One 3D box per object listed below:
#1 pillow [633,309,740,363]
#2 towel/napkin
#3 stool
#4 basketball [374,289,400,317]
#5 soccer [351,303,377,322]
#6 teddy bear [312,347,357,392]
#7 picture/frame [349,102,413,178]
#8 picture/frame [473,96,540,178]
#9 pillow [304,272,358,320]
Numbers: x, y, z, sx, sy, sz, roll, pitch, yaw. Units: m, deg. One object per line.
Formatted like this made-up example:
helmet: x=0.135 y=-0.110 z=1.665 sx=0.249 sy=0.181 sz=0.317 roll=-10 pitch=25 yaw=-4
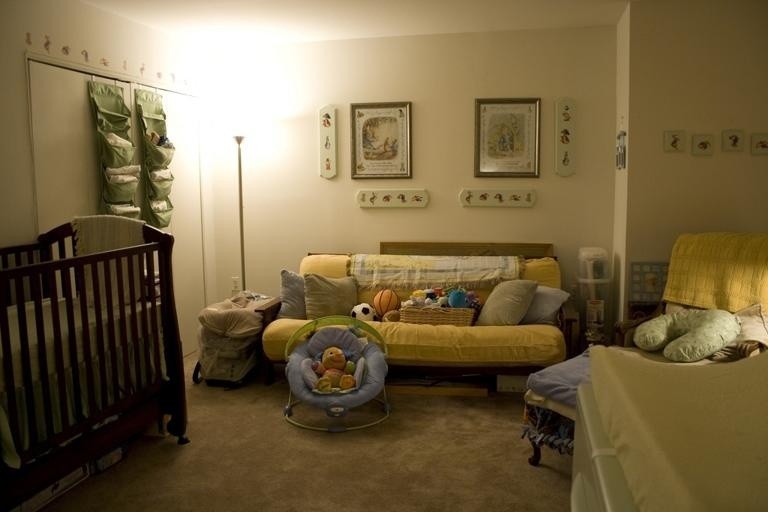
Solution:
pillow: x=1.945 y=0.491 z=3.327 sx=0.374 sy=0.102 sz=0.375 roll=-23 pitch=7 yaw=-7
towel/napkin: x=-1.720 y=0.028 z=3.285 sx=0.559 sy=0.670 sz=0.107 roll=-1 pitch=6 yaw=12
stool: x=1.133 y=0.936 z=3.474 sx=0.567 sy=0.539 sz=0.904 roll=-1 pitch=0 yaw=32
basketball: x=0.012 y=0.386 z=4.597 sx=0.213 sy=0.267 sz=0.212 roll=-3 pitch=11 yaw=-28
soccer: x=-0.174 y=0.494 z=4.510 sx=0.159 sy=0.163 sz=0.160 roll=23 pitch=-39 yaw=-21
teddy bear: x=-0.354 y=0.823 z=3.807 sx=0.297 sy=0.387 sz=0.314 roll=3 pitch=-26 yaw=-4
picture/frame: x=-0.007 y=-1.155 z=5.094 sx=0.684 sy=0.842 sz=0.058 roll=1 pitch=8 yaw=6
picture/frame: x=1.178 y=-1.147 z=4.936 sx=0.721 sy=0.884 sz=0.068 roll=0 pitch=5 yaw=3
pillow: x=-0.461 y=0.362 z=4.514 sx=0.348 sy=0.326 sz=0.131 roll=1 pitch=-17 yaw=-24
